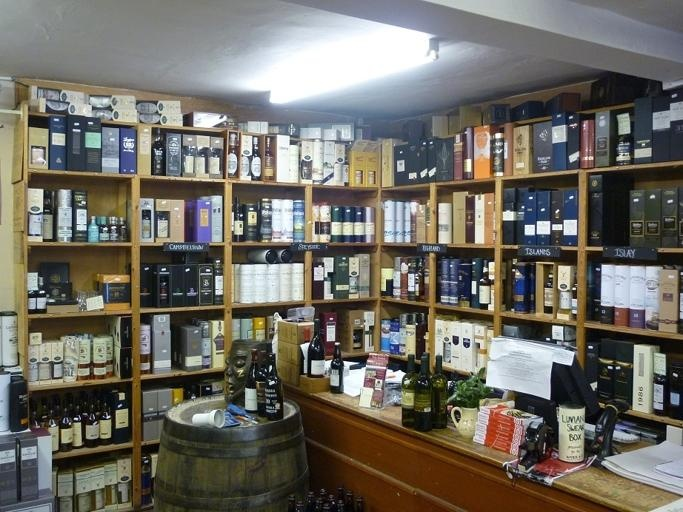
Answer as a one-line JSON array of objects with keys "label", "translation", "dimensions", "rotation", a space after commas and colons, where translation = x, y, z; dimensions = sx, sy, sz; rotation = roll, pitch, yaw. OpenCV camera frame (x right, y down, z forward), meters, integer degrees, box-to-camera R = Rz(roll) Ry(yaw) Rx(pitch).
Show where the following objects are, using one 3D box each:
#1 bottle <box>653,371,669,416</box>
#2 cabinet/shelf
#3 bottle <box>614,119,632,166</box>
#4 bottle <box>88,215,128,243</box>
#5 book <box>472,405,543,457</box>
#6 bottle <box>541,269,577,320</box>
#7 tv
[{"label": "bottle", "translation": [2.116, 0.911, 3.716], "dimensions": [0.098, 0.266, 0.102], "rotation": [-3, 14, 1]}, {"label": "cabinet/shelf", "translation": [-0.125, 0.330, 4.049], "dimensions": [3.234, 1.994, 3.201], "rotation": [1, -3, -32]}, {"label": "bottle", "translation": [1.951, -0.800, 3.866], "dimensions": [0.107, 0.333, 0.151], "rotation": [3, 15, 26]}, {"label": "bottle", "translation": [-1.873, -0.207, 4.490], "dimensions": [0.072, 0.169, 0.219], "rotation": [-5, -4, 43]}, {"label": "book", "translation": [0.811, 0.881, 2.860], "dimensions": [0.251, 0.092, 0.205], "rotation": [4, 2, -45]}, {"label": "bottle", "translation": [1.637, 0.254, 4.223], "dimensions": [0.176, 0.369, 0.308], "rotation": [-10, 16, -26]}, {"label": "tv", "translation": [1.000, 0.594, 2.846], "dimensions": [0.466, 0.442, 0.130], "rotation": [11, 18, 40]}]
